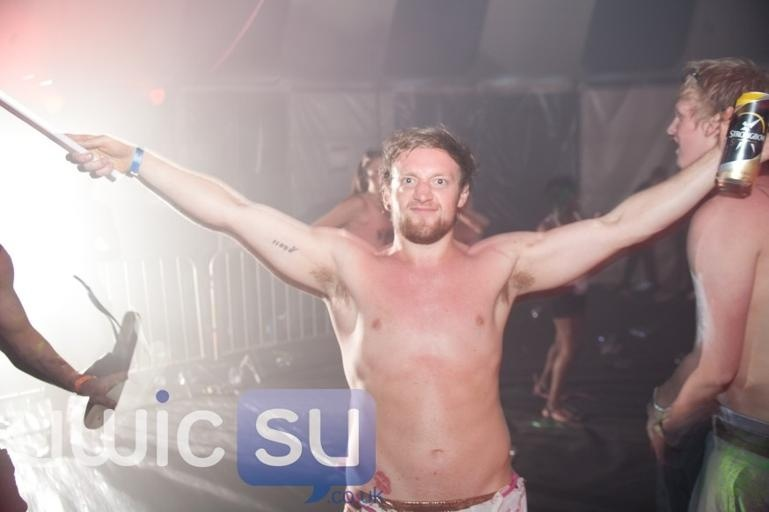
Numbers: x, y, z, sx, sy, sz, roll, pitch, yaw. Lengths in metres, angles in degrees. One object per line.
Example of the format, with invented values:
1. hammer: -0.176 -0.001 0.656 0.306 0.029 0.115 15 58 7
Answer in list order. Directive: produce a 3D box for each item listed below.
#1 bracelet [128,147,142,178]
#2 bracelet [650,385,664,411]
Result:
1. bracelet: -1.160 -0.443 2.923 0.068 0.128 0.030 15 -3 11
2. bracelet: 1.384 0.738 3.158 0.036 0.098 0.075 -1 7 15
